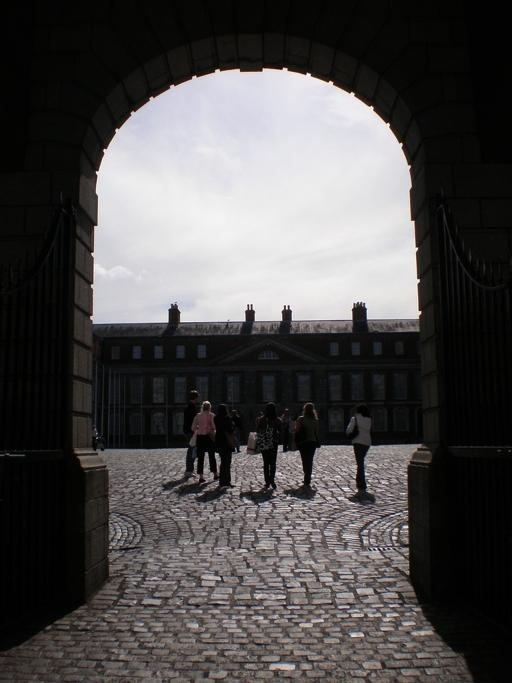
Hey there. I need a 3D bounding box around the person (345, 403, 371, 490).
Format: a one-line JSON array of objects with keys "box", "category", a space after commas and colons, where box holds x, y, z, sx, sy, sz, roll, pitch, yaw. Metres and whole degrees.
[{"box": [1.785, 1.850, 10.003, 0.389, 1.488, 1.851, -3, -7, 10], "category": "person"}]

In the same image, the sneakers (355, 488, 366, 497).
[{"box": [1.714, 2.469, 9.488, 0.161, 0.111, 0.360, -4, -7, 12], "category": "sneakers"}]

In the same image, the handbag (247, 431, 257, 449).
[{"box": [-0.089, 1.872, 10.904, 0.170, 0.310, 0.390, -2, -7, -1], "category": "handbag"}]
